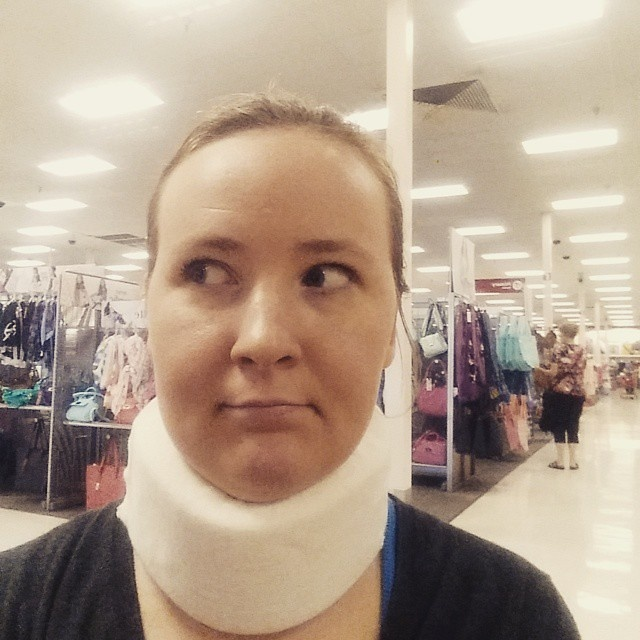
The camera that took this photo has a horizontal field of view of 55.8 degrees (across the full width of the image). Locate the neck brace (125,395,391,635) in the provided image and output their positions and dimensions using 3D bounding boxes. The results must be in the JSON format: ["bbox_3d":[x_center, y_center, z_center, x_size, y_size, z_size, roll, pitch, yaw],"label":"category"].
[{"bbox_3d":[-0.082,0.217,0.852,0.300,0.298,0.157,3,3,1],"label":"neck brace"}]
